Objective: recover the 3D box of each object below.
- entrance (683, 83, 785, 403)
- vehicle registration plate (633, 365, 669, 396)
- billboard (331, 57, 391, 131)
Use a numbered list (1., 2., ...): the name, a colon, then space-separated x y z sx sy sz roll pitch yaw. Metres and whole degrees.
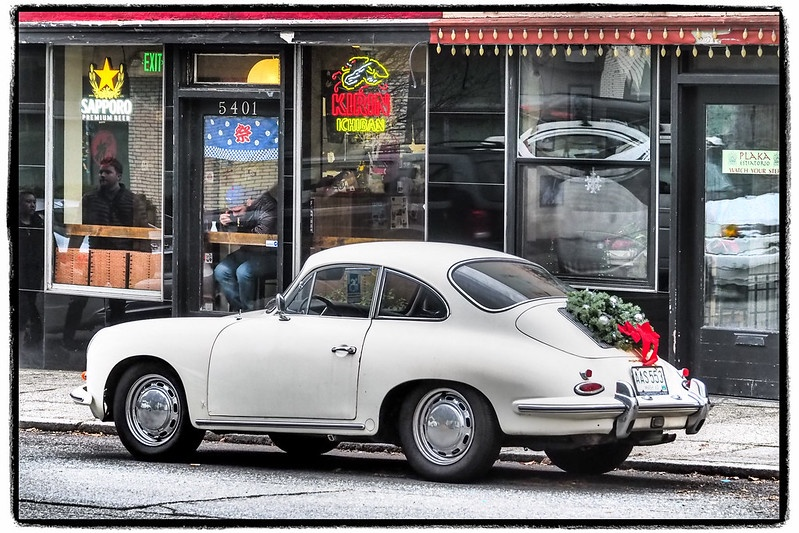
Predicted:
1. entrance: 4.564 -0.170 16.582 2.159 3.697 0.669 2 -17 -1
2. vehicle registration plate: 2.630 1.220 12.597 0.338 0.231 0.046 4 -26 -25
3. billboard: -0.529 -2.558 17.573 1.147 1.236 0.021 1 -1 14
